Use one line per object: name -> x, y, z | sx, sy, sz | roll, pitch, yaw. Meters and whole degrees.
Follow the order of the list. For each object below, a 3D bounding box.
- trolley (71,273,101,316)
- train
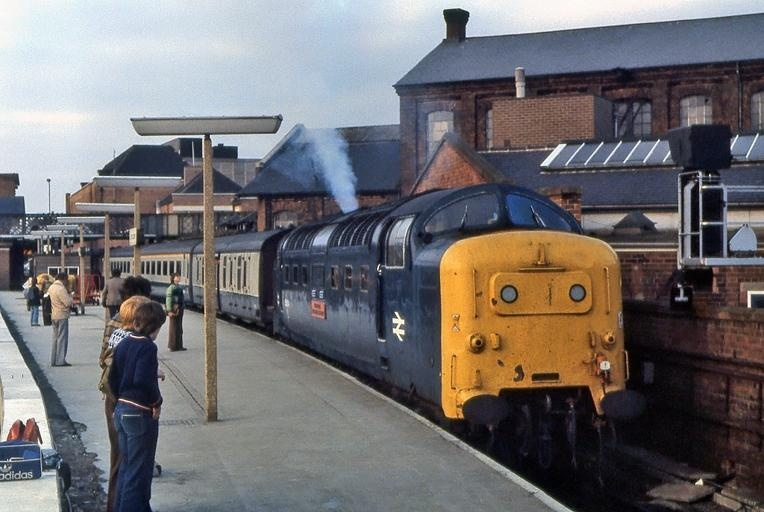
trolley -> -12.167, 1.671, 42.675 | 1.338, 1.645, 2.505 | 0, -4, -15
train -> 0.263, 0.753, 25.080 | 3.097, 4.210, 17.471 | 0, 1, -16
